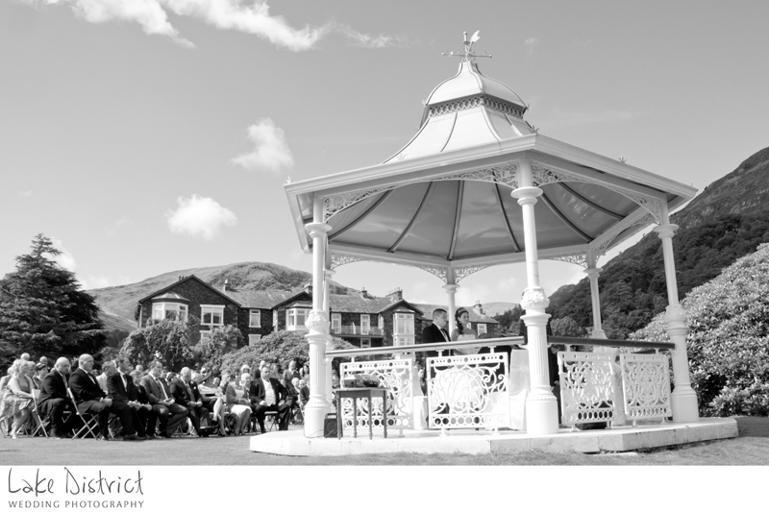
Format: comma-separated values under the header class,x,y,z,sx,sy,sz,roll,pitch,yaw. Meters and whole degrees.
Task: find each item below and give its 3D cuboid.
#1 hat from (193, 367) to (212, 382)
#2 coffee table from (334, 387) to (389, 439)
class,x,y,z,sx,sy,sz,roll,pitch,yaw
hat,-5.421,3.521,20.588,0.792,0.370,0.900,0,-3,-20
coffee table,-0.596,3.178,14.571,1.131,0.873,1.127,-4,-8,9
